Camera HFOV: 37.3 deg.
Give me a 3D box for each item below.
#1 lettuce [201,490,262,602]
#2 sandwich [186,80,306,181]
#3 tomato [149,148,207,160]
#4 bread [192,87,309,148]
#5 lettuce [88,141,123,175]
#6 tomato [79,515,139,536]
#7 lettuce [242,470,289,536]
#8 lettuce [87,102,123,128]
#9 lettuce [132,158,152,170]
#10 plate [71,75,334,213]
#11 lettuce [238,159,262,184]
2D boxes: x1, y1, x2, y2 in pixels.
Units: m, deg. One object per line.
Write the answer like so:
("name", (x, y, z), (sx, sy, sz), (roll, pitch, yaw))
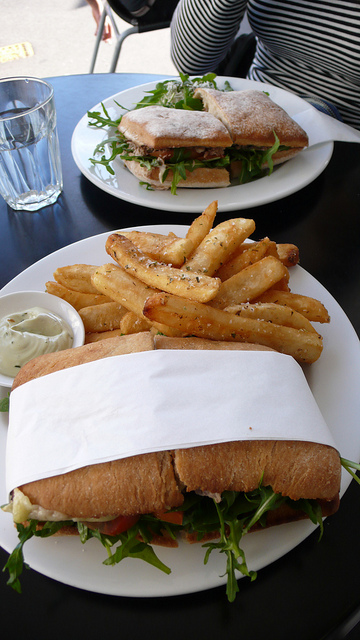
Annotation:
("lettuce", (0.090, 0.446, 1.069), (0.105, 0.065, 0.291), (-5, 7, 6))
("sandwich", (0.313, -0.807, 2.432), (0.366, 0.191, 0.610), (-14, 50, -15))
("tomato", (-0.003, -0.687, 2.204), (0.126, 0.033, 0.098), (-3, 11, -4))
("bread", (0.322, -0.894, 2.339), (0.321, 0.110, 0.415), (-8, 50, -28))
("lettuce", (-0.293, -0.678, 2.151), (0.143, 0.044, 0.142), (-42, 51, -12))
("tomato", (-0.142, 0.428, 1.111), (0.070, 0.063, 0.024), (-17, 69, 35))
("lettuce", (0.185, 0.373, 1.117), (0.057, 0.021, 0.150), (27, 54, 38))
("lettuce", (-0.340, -0.893, 2.353), (0.107, 0.043, 0.103), (26, 64, 27))
("lettuce", (-0.155, -0.618, 2.111), (0.014, 0.032, 0.125), (0, 33, -35))
("plate", (0.100, -0.781, 2.340), (1.156, 0.205, 1.117), (-5, 46, -5))
("lettuce", (0.284, -0.605, 2.201), (0.075, 0.115, 0.036), (-7, 15, 0))
